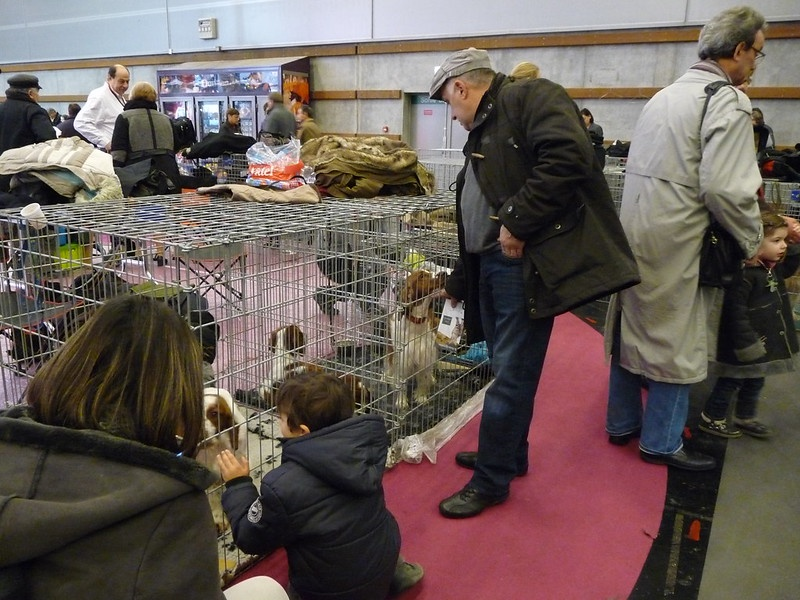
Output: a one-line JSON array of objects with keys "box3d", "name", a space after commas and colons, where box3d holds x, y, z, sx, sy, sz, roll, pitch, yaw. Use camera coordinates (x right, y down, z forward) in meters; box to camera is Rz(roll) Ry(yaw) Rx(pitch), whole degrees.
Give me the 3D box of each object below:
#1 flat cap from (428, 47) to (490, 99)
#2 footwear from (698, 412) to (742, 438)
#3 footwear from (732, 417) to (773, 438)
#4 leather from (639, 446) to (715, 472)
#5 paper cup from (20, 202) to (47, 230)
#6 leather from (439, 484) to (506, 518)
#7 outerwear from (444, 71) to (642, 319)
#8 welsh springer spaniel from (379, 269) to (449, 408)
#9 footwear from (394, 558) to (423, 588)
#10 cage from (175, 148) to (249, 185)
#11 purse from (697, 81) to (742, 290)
[{"box3d": [0.301, -1.143, 2.813, 0.291, 0.156, 0.219, -13, 12, 36], "name": "flat cap"}, {"box3d": [2.134, 0.848, 3.857, 0.262, 0.116, 0.131, 2, 20, 18], "name": "footwear"}, {"box3d": [2.373, 0.866, 3.906, 0.265, 0.111, 0.099, 8, 17, 30], "name": "footwear"}, {"box3d": [1.689, 0.963, 3.514, 0.441, 0.188, 0.157, -1, 5, 8], "name": "leather"}, {"box3d": [-1.848, -0.416, 2.896, 0.106, 0.128, 0.305, -9, 14, -33], "name": "paper cup"}, {"box3d": [0.357, 1.063, 3.067, 0.378, 0.141, 0.152, -7, -29, -11], "name": "leather"}, {"box3d": [0.852, -0.531, 3.247, 0.953, 1.466, 1.166, -7, 1, -1], "name": "outerwear"}, {"box3d": [0.114, 0.215, 3.984, 0.350, 0.938, 1.268, 1, 8, 0], "name": "welsh springer spaniel"}, {"box3d": [0.039, 1.203, 2.508, 0.094, 0.058, 0.158, 8, 16, 27], "name": "footwear"}, {"box3d": [-2.913, -2.029, 8.823, 0.829, 0.491, 1.420, -8, 14, -32], "name": "cage"}, {"box3d": [1.730, -0.635, 3.119, 0.281, 1.167, 0.203, -24, 25, -34], "name": "purse"}]
